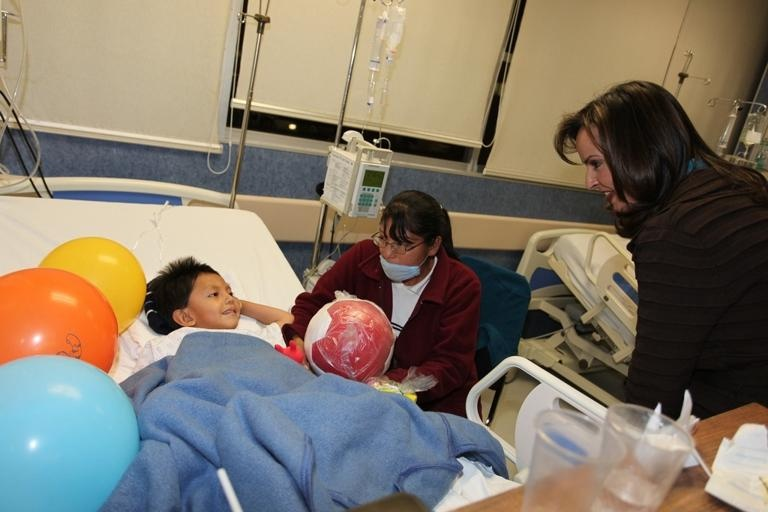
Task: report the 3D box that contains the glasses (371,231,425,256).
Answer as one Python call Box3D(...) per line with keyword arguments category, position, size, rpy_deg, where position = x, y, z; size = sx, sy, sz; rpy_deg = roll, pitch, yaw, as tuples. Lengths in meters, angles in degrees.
Box3D(category="glasses", position=(0.026, -0.061, 2.282), size=(0.252, 0.071, 0.081), rpy_deg=(20, 22, 36))

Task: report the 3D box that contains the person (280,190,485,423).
Box3D(category="person", position=(0.006, 0.326, 2.429), size=(0.901, 1.177, 0.886), rpy_deg=(3, 22, -8))

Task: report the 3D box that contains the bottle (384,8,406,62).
Box3D(category="bottle", position=(0.063, -1.365, 3.225), size=(0.119, 0.337, 0.307), rpy_deg=(5, 17, 0))
